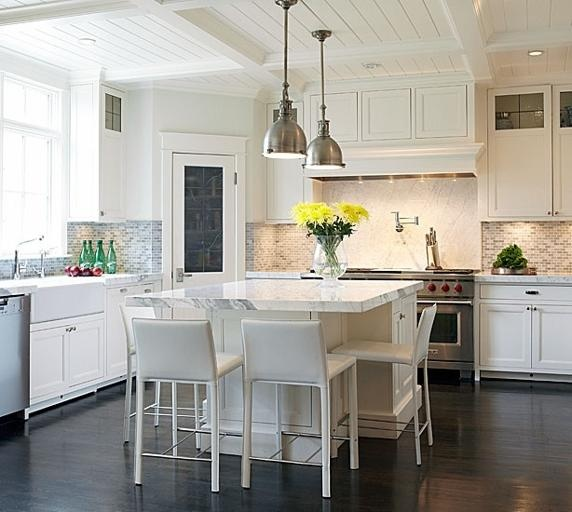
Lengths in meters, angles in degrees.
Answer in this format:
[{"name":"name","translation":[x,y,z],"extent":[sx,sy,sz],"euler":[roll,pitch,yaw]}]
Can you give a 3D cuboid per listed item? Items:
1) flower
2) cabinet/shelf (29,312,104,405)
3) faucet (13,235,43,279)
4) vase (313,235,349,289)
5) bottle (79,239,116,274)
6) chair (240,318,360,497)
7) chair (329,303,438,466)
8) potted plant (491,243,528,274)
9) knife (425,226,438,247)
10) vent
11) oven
[{"name":"flower","translation":[0.257,-0.148,3.590],"extent":[0.568,0.629,0.519],"euler":[0,-2,-9]},{"name":"cabinet/shelf","translation":[-1.700,0.776,4.057],"extent":[0.430,0.575,0.823],"euler":[0,0,19]},{"name":"faucet","translation":[-2.281,0.009,4.542],"extent":[0.231,0.376,0.497],"euler":[0,0,-28]},{"name":"vase","translation":[0.282,0.038,3.445],"extent":[0.273,0.432,0.289],"euler":[0,-3,-1]},{"name":"bottle","translation":[-1.868,0.019,5.099],"extent":[0.332,0.325,0.111],"euler":[0,0,-45]},{"name":"chair","translation":[0.064,0.717,2.626],"extent":[0.594,0.853,0.624],"euler":[0,0,8]},{"name":"chair","translation":[0.706,0.730,3.371],"extent":[0.802,1.270,0.714],"euler":[1,-1,16]},{"name":"potted plant","translation":[2.123,0.013,4.851],"extent":[0.267,0.280,0.276],"euler":[-2,3,-13]},{"name":"knife","translation":[1.530,-0.200,5.421],"extent":[0.125,0.196,0.108],"euler":[0,0,15]},{"name":"vent","translation":[1.115,-0.926,5.054],"extent":[1.799,0.430,0.328],"euler":[3,16,25]},{"name":"oven","translation":[1.544,0.720,4.776],"extent":[0.637,0.920,0.662],"euler":[-1,-4,20]}]
